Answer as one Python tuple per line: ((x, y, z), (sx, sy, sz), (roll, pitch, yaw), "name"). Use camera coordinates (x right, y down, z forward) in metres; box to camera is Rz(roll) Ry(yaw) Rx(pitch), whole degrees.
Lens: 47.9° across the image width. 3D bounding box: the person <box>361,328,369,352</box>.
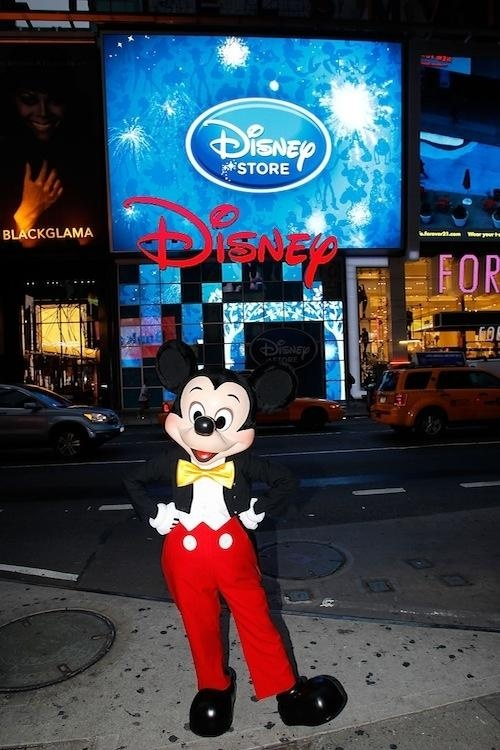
((5.990, -1.808, 29.476), (0.390, 1.207, 1.225), (-3, 4, 11), "person")
